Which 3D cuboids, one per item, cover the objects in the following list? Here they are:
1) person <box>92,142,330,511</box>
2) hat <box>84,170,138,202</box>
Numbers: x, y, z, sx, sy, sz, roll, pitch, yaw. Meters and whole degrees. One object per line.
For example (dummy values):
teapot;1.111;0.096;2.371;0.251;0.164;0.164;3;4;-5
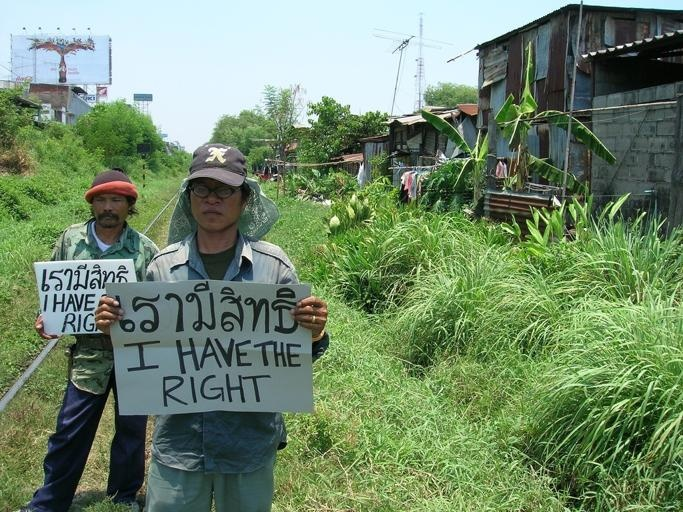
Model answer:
person;-0.747;0.418;3.651;1.143;2.180;0.712;-2;6;-17
hat;-1.876;-0.559;4.856;0.305;0.230;0.326;-4;-4;20
